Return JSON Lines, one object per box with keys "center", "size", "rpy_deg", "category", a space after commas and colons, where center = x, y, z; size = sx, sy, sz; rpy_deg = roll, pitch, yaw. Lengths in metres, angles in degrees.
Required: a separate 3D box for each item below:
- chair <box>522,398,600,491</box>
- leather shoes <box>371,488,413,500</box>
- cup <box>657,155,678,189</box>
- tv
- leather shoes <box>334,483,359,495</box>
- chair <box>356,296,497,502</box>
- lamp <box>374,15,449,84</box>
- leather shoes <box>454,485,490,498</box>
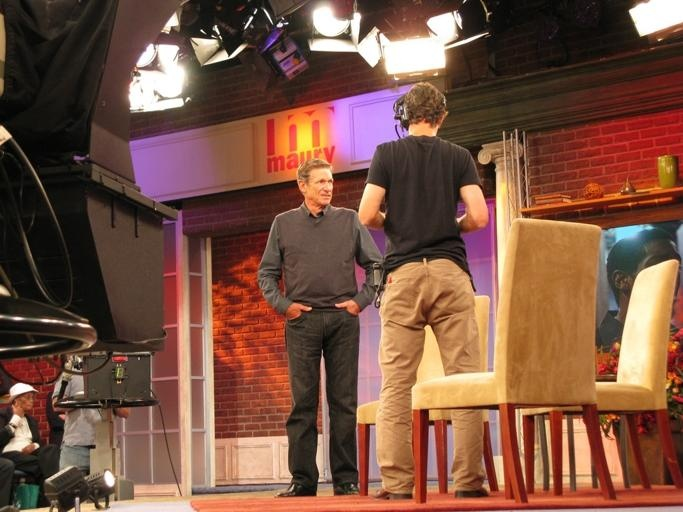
{"center": [0.995, 0.907, 4.055], "size": [0.306, 0.357, 0.318], "rpy_deg": [1, -15, -23], "category": "chair"}
{"center": [0.225, 1.097, 3.933], "size": [0.188, 0.049, 0.121], "rpy_deg": [-6, -14, 14], "category": "leather shoes"}
{"center": [2.532, -0.647, 6.662], "size": [0.151, 0.281, 0.122], "rpy_deg": [-7, -13, 21], "category": "cup"}
{"center": [-1.554, 0.851, 5.906], "size": [0.546, 0.405, 0.324], "rpy_deg": [7, -15, -41], "category": "tv"}
{"center": [0.022, 1.295, 4.746], "size": [0.146, 0.067, 0.057], "rpy_deg": [-4, -7, 11], "category": "leather shoes"}
{"center": [0.455, 0.785, 4.780], "size": [0.660, 1.133, 0.606], "rpy_deg": [13, -21, -43], "category": "chair"}
{"center": [0.564, -1.561, 6.730], "size": [0.471, 0.365, 0.182], "rpy_deg": [-2, 6, 11], "category": "lamp"}
{"center": [0.603, 1.102, 4.015], "size": [0.163, 0.071, 0.057], "rpy_deg": [-1, 0, -18], "category": "leather shoes"}
